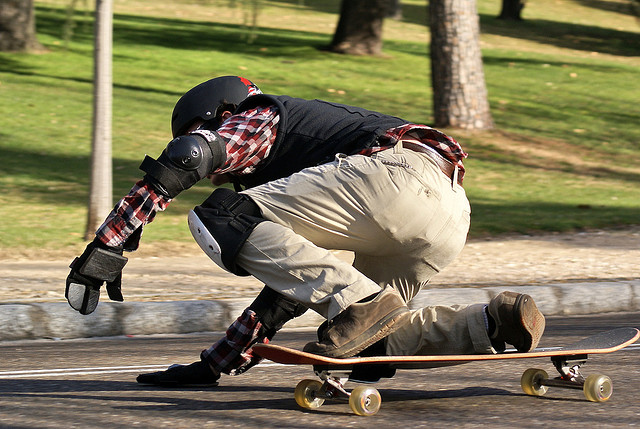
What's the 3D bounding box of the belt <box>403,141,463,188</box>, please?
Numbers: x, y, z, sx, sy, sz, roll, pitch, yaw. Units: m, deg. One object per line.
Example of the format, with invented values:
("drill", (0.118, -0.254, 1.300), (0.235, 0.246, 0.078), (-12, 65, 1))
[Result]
("belt", (0.822, -0.367, 7.173), (0.465, 0.085, 0.287), (22, 21, 4))
